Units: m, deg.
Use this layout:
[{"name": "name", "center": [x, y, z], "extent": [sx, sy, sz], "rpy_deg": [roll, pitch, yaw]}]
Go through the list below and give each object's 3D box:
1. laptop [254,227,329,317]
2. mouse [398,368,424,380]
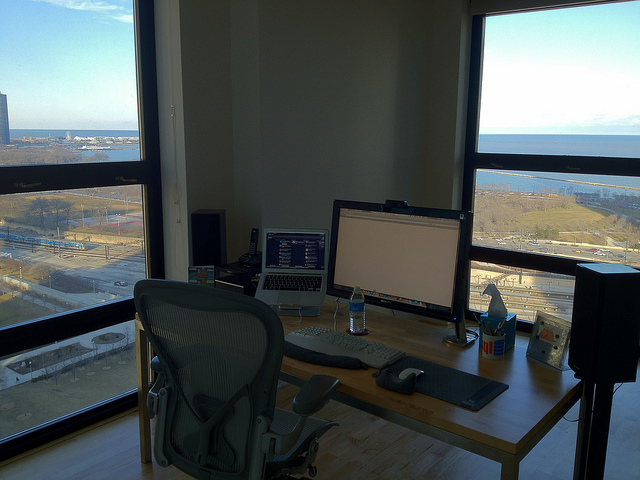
[{"name": "laptop", "center": [-0.169, 0.150, 2.650], "extent": [0.479, 0.329, 0.439], "rpy_deg": [-4, 26, -10]}, {"name": "mouse", "center": [0.385, 0.573, 1.957], "extent": [0.082, 0.017, 0.045], "rpy_deg": [-14, 12, -12]}]
